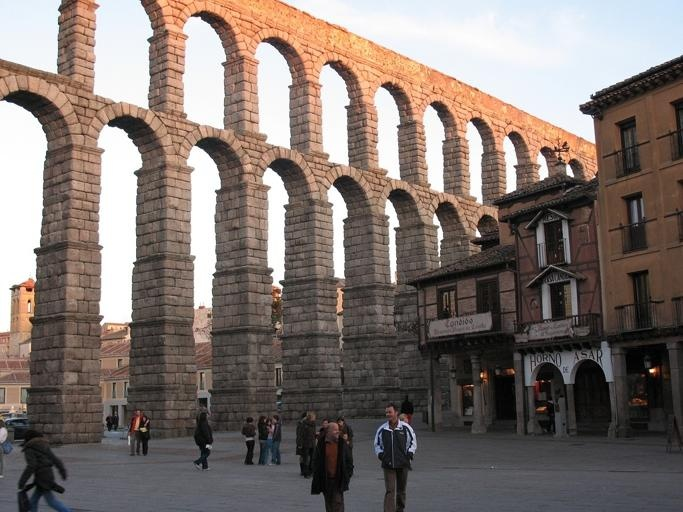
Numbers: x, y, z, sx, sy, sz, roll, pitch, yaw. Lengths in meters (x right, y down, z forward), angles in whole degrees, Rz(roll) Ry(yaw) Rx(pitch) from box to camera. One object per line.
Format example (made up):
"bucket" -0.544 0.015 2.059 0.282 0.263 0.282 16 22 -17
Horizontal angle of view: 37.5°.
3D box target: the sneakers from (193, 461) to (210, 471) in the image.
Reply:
"sneakers" -5.023 7.483 35.564 0.693 0.282 0.226 10 -12 -15
